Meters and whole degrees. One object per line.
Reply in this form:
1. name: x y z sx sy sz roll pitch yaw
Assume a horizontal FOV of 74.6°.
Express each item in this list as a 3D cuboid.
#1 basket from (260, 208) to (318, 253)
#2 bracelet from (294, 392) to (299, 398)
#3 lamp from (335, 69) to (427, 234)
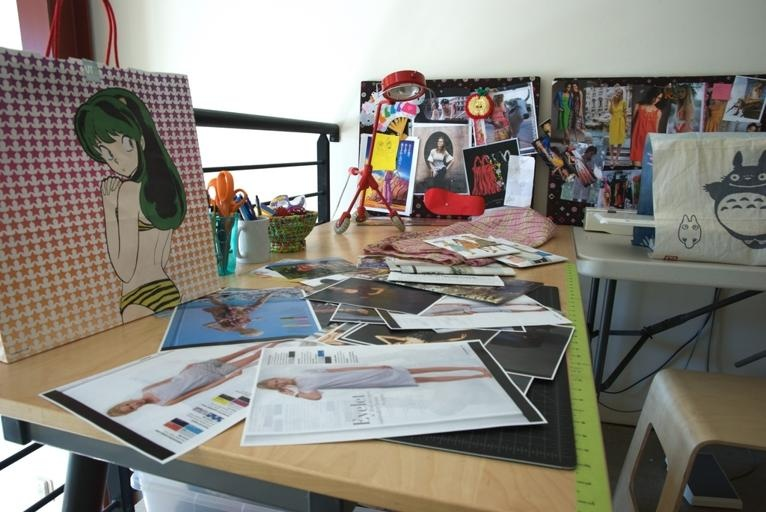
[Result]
1. basket: -0.242 -0.069 1.396 0.123 0.070 0.116 -5 7 -24
2. bracelet: -0.134 0.215 0.777 0.006 0.001 0.006 12 19 38
3. lamp: 0.003 -0.399 1.890 0.398 0.625 0.289 7 49 2
